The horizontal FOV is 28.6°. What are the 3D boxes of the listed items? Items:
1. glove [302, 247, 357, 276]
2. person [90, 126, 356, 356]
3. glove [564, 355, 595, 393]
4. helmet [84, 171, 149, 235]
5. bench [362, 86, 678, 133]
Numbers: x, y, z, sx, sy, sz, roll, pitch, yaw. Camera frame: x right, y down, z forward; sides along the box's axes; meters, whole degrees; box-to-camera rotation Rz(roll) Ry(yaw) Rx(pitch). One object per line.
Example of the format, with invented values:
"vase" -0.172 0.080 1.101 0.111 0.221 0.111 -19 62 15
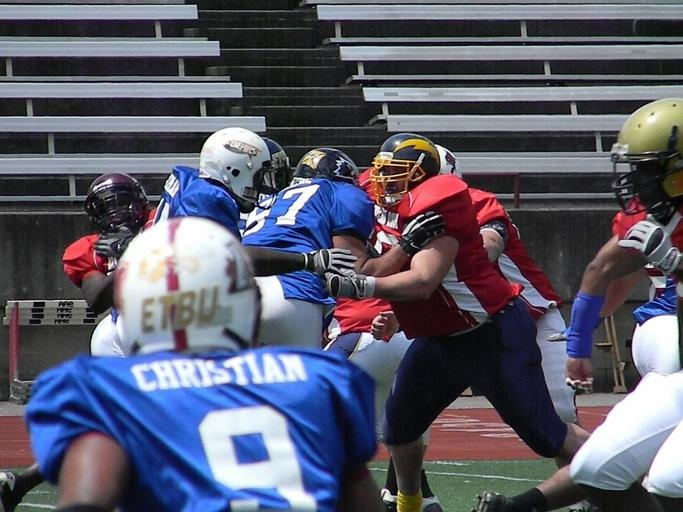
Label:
"glove" -0.094 0.041 10.962 0.346 0.133 0.232 -4 -1 -15
"person" -1.132 0.184 11.489 1.194 2.526 1.083 20 1 -10
"glove" 2.010 0.974 11.165 0.229 0.248 0.095 -3 5 27
"helmet" -1.987 -0.464 12.008 0.567 0.458 0.564 -17 -41 5
"bench" 2.100 -1.853 17.048 4.992 0.665 0.567 -1 11 -4
